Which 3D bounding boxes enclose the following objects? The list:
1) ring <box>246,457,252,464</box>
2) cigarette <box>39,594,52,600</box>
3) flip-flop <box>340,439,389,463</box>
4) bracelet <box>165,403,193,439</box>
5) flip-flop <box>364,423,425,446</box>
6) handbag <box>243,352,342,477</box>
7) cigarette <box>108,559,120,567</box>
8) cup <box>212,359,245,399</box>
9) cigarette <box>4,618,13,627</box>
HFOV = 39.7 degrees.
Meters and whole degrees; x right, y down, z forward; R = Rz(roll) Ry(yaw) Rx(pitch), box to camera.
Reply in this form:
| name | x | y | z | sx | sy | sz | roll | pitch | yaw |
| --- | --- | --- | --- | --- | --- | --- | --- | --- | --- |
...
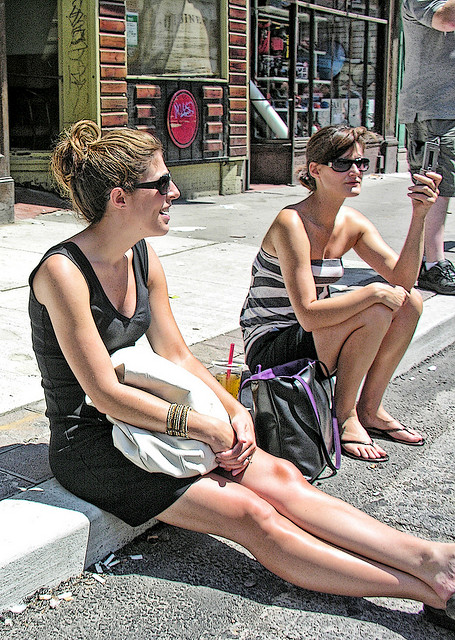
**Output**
| name | x | y | z | sx | sy | sz | roll | pitch | yaw |
| --- | --- | --- | --- | --- | --- | --- | --- | --- | --- |
| ring | 0.068 | 0.429 | 1.933 | 0.006 | 0.022 | 0.005 | -28 | 20 | 9 |
| cigarette | -0.510 | 0.771 | 1.762 | 0.034 | 0.011 | 0.020 | -5 | 12 | -22 |
| flip-flop | 0.580 | 0.574 | 2.792 | 0.258 | 0.057 | 0.089 | 6 | 13 | 31 |
| bracelet | -0.142 | 0.284 | 1.802 | 0.101 | 0.079 | 0.074 | 5 | 1 | 1 |
| flip-flop | 0.786 | 0.541 | 2.958 | 0.305 | 0.059 | 0.099 | 7 | 14 | 12 |
| handbag | 0.311 | 0.397 | 2.577 | 0.333 | 0.444 | 0.501 | -4 | 7 | 26 |
| cigarette | -0.356 | 0.756 | 1.969 | 0.010 | 0.009 | 0.040 | 11 | 6 | 15 |
| cup | 0.000 | 0.264 | 2.959 | 0.173 | 0.166 | 0.165 | 2 | 10 | 0 |
| cigarette | -0.571 | 0.781 | 1.639 | 0.017 | 0.014 | 0.004 | 3 | -27 | -10 |
